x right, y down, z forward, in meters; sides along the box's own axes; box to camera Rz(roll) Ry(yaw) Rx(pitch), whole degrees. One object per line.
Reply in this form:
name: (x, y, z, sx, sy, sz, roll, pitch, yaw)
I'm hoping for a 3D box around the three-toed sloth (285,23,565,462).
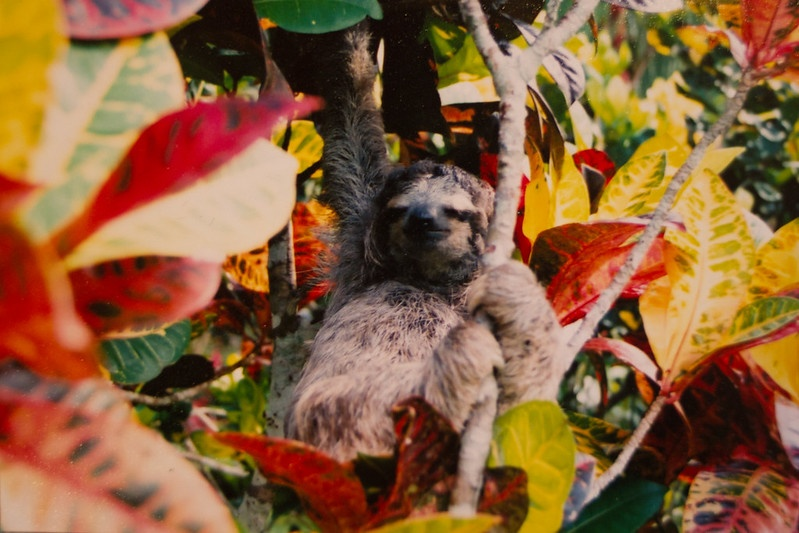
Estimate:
three-toed sloth: (0.074, 0.058, 2.647, 0.670, 1.342, 0.627, 3, 5, -11)
